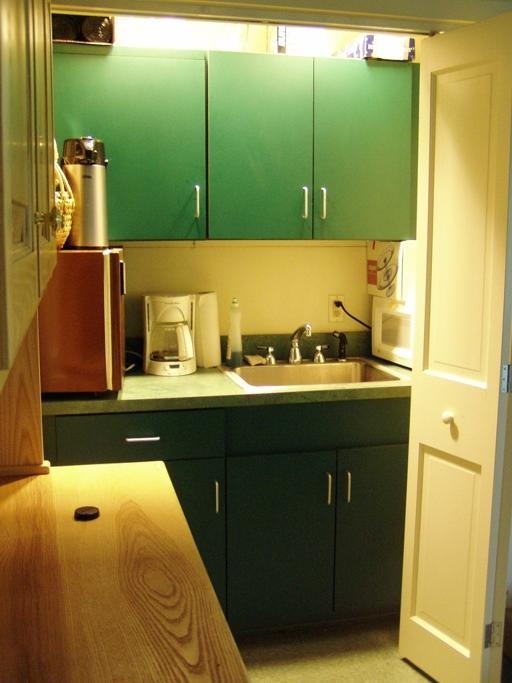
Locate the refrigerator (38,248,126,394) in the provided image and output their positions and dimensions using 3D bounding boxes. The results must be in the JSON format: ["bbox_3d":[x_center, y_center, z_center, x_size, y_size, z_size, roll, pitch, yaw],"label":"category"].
[{"bbox_3d":[-0.552,-0.124,2.139,0.305,0.620,0.367,-1,13,-7],"label":"refrigerator"}]

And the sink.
[{"bbox_3d":[0.248,0.153,2.635,0.655,0.101,0.269,1,8,6],"label":"sink"}]

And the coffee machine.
[{"bbox_3d":[-0.349,-0.022,2.367,0.192,0.371,0.271,0,5,-10],"label":"coffee machine"}]

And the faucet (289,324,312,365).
[{"bbox_3d":[0.200,0.008,2.724,0.106,0.172,0.157,1,7,5],"label":"faucet"}]

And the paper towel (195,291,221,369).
[{"bbox_3d":[-0.203,-0.048,2.548,0.084,0.319,0.220,3,7,24],"label":"paper towel"}]

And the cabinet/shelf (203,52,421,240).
[{"bbox_3d":[0.187,-0.785,2.333,0.585,0.697,0.266,0,6,-6],"label":"cabinet/shelf"}]

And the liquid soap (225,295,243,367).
[{"bbox_3d":[-0.104,-0.040,2.606,0.068,0.289,0.158,0,6,-4],"label":"liquid soap"}]

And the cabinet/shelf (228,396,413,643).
[{"bbox_3d":[0.191,0.581,2.573,0.690,1.375,0.752,-1,4,-12],"label":"cabinet/shelf"}]

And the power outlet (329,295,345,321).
[{"bbox_3d":[0.376,-0.157,2.800,0.081,0.202,0.018,-1,11,-7],"label":"power outlet"}]

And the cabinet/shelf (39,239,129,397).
[{"bbox_3d":[-0.544,-0.111,2.117,0.306,0.611,0.365,-1,14,-7],"label":"cabinet/shelf"}]
